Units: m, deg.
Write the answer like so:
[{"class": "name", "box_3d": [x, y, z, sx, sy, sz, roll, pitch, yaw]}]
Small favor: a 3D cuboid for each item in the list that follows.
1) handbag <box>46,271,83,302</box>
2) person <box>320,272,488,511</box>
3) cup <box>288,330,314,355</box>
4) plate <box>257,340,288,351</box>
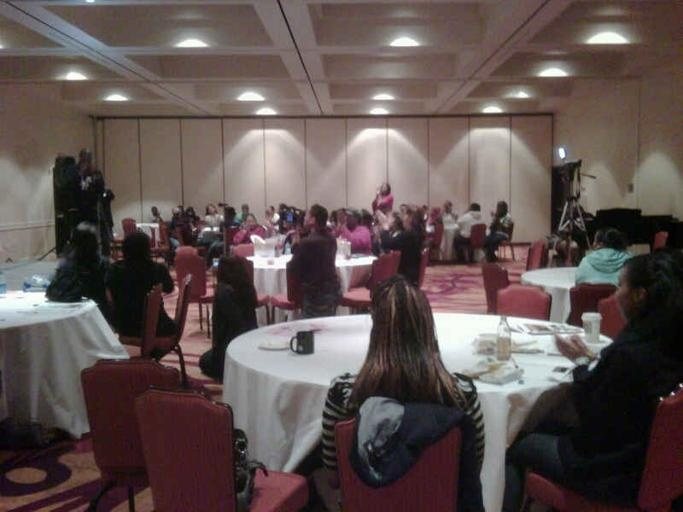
[{"class": "handbag", "box_3d": [-2.227, 0.281, 4.641, 0.272, 0.289, 0.195, 18, -19, -39]}, {"class": "person", "box_3d": [0.281, 0.603, 2.493, 0.732, 0.989, 0.346, 0, 5, -2]}, {"class": "cup", "box_3d": [-0.241, 0.526, 3.460, 0.158, 0.163, 0.103, -2, 3, -15]}, {"class": "plate", "box_3d": [-0.424, 0.551, 3.568, 0.200, 0.034, 0.201, 0, 6, -4]}]
